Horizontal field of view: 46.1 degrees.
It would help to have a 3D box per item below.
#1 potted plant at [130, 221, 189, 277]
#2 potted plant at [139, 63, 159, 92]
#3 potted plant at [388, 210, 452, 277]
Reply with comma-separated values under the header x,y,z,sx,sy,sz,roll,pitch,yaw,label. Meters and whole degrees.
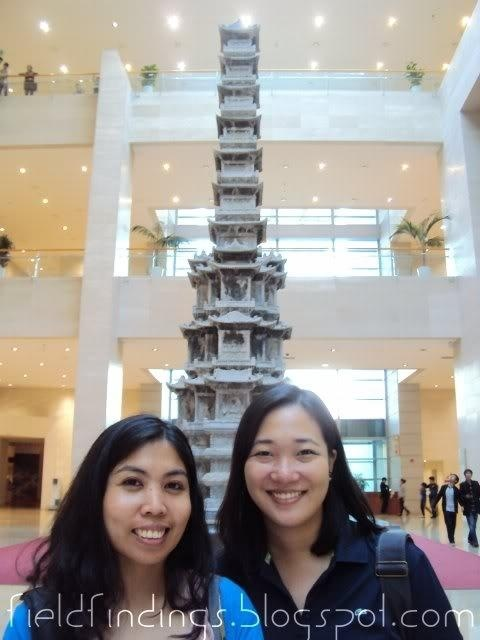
x,y,z,sx,sy,sz,roll,pitch,yaw,label
-2.264,-1.827,15.170,1.209,1.472,1.076,2,1,-7,potted plant
-2.466,-6.546,15.377,0.513,0.958,0.557,0,-12,-7,potted plant
4.607,-1.792,14.356,1.045,1.436,0.988,-2,13,39,potted plant
